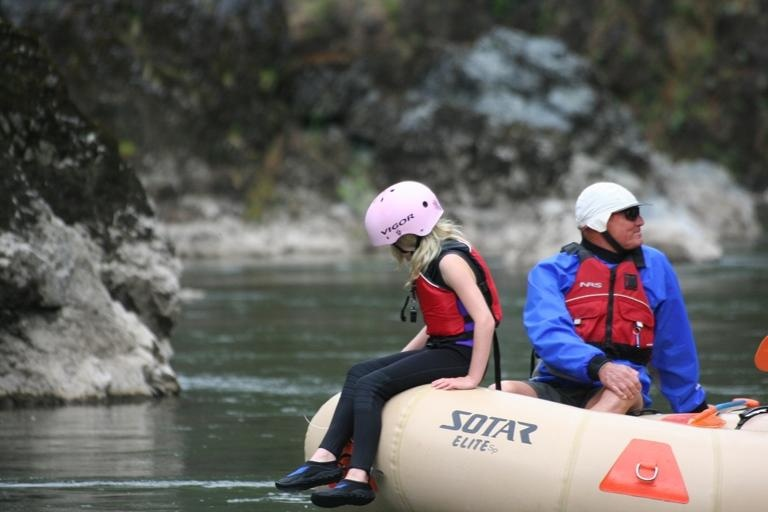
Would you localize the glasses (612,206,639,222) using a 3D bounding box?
[{"bbox_3d":[2.874,-0.505,19.338,0.220,0.081,0.175,-8,-16,19],"label":"glasses"}]

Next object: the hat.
[{"bbox_3d":[2.676,-0.577,19.416,0.726,0.528,0.540,2,6,19],"label":"hat"}]
